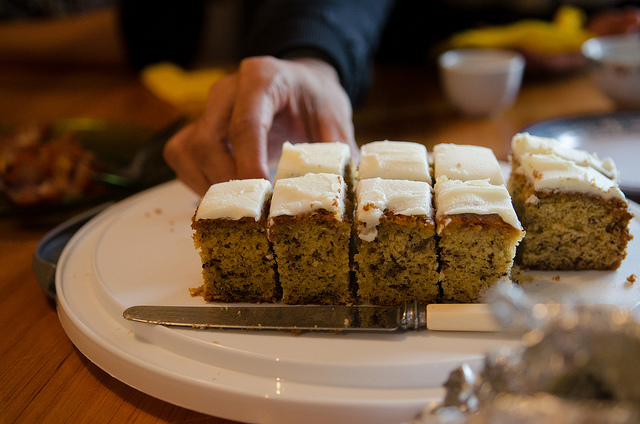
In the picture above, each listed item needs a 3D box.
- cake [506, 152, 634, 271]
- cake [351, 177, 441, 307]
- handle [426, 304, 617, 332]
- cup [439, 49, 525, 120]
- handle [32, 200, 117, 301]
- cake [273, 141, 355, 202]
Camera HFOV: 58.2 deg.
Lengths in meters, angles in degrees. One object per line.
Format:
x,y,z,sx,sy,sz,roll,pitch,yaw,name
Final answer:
0.960,0.073,2.375,0.438,0.372,0.563,-1,30,2,cake
0.321,0.107,2.240,0.363,0.414,0.358,-4,24,9,cake
0.686,0.363,1.981,0.633,0.093,0.067,-1,-2,9,handle
0.911,-0.763,3.292,0.458,0.353,0.434,-2,51,3,cup
-1.053,0.155,2.373,0.260,0.058,0.351,4,37,24,handle
-0.019,-0.141,2.375,0.278,0.171,0.276,3,23,17,cake
